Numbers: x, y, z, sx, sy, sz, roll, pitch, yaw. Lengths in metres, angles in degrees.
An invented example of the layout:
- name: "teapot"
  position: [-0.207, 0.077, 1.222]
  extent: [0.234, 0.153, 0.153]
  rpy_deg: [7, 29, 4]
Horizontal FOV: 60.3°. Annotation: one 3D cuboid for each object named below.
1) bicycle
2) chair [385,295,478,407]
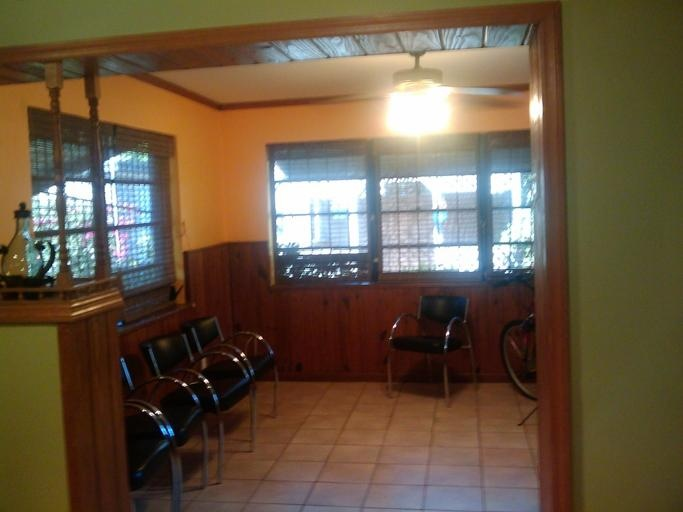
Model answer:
- name: "bicycle"
  position: [1.433, 0.610, 4.851]
  extent: [0.345, 1.117, 1.052]
  rpy_deg: [-1, 8, 15]
- name: "chair"
  position: [0.736, 0.787, 5.026]
  extent: [0.814, 0.800, 0.747]
  rpy_deg: [-1, 8, 13]
